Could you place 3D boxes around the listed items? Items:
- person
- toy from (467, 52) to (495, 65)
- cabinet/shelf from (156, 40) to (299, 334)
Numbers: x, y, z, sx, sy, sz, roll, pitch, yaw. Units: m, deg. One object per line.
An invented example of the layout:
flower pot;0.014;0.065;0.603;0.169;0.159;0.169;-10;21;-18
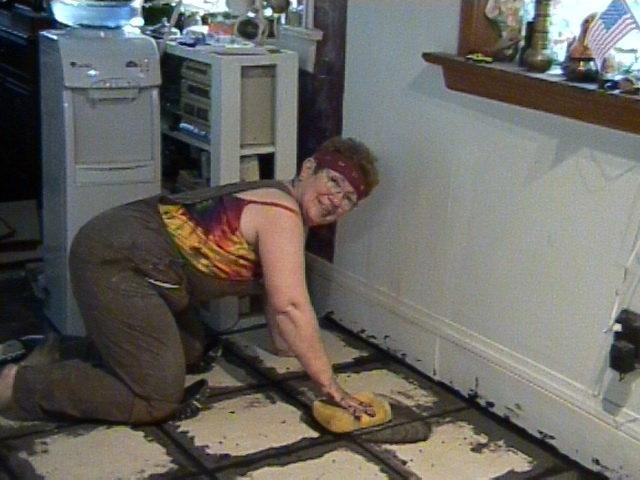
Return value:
person;-0.269;0.126;2.562;1.787;1.179;0.795;0;13;-14
toy;0.611;-0.699;2.156;0.101;0.041;0.064;8;20;17
cabinet/shelf;-0.389;-0.245;2.469;0.498;1.280;1.416;-5;14;-20
